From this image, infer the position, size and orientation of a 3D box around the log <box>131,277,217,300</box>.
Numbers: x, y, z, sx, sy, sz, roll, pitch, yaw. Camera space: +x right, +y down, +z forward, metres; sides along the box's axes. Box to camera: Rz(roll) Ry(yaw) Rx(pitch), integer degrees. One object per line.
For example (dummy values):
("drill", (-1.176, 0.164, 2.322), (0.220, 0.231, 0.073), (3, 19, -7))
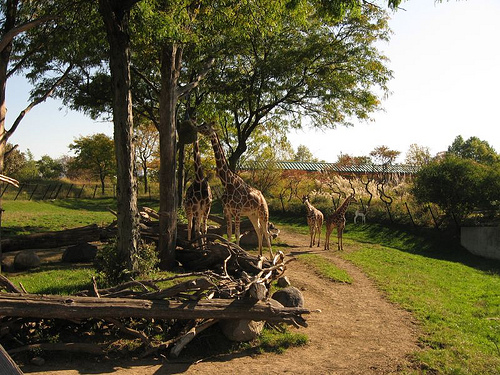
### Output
("log", (-1.787, 2.401, 9.134), (1.121, 0.215, 0.293), (-23, -23, -1))

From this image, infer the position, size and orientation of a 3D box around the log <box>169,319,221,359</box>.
("log", (-1.240, 3.299, 8.844), (0.366, 0.230, 1.549), (31, 35, 18))

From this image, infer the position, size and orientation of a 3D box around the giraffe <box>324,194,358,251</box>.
("giraffe", (4.806, 1.764, 20.868), (1.304, 2.922, 4.357), (4, 4, 12))

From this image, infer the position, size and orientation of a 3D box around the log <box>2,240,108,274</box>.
("log", (-8.068, 2.447, 14.373), (2.295, 0.562, 3.229), (2, 4, -20))

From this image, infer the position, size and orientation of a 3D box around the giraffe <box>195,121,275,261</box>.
("giraffe", (-0.369, 0.190, 14.189), (2.661, 5.033, 2.747), (3, 4, 3))

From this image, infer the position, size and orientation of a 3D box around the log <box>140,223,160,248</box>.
("log", (-4.051, 1.901, 15.438), (0.714, 0.764, 1.371), (2, 4, -16))
